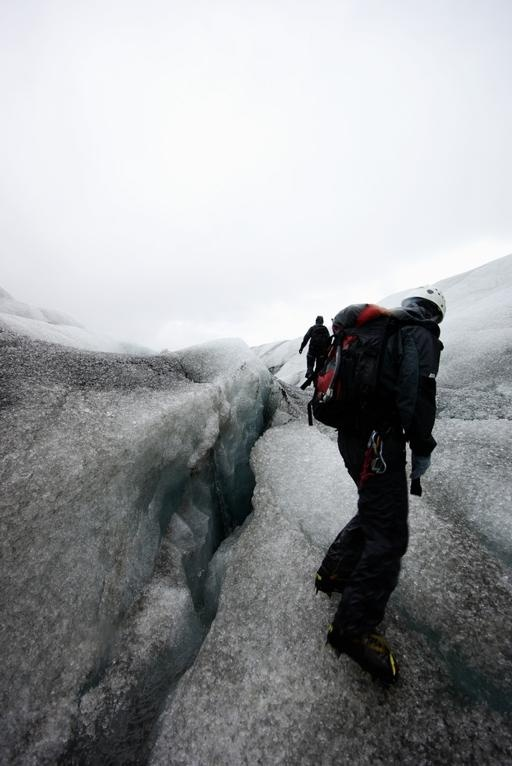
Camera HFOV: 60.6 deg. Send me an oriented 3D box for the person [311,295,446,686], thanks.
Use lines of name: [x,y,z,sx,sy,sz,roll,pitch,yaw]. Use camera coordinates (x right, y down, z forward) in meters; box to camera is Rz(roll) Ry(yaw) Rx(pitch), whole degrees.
person: [0.749,0.641,2.758,0.735,2.232,0.786,2,10,22]

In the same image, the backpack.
backpack: [0.685,-0.124,2.965,0.475,0.845,0.644,15,-11,-16]

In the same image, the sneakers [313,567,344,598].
sneakers: [0.520,1.426,3.137,0.233,0.200,0.180,-9,-14,20]
